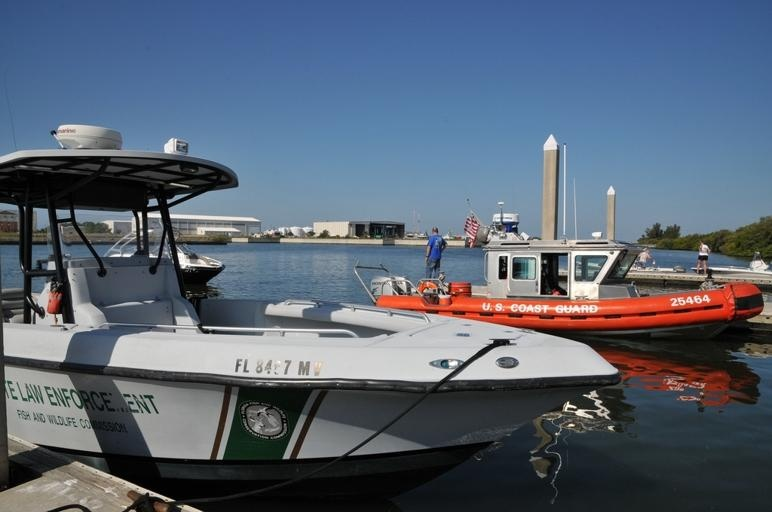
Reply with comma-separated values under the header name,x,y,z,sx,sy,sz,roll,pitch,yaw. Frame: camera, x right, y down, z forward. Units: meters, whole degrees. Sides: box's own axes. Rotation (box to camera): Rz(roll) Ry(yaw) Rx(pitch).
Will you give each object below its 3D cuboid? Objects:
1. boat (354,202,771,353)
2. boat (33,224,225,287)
name,x,y,z,sx,sy,sz,roll,pitch,yaw
boat,3.908,0.342,14.748,8.706,2.355,3.075,3,-1,25
boat,-8.817,0.260,24.614,2.176,1.756,7.442,9,10,36
